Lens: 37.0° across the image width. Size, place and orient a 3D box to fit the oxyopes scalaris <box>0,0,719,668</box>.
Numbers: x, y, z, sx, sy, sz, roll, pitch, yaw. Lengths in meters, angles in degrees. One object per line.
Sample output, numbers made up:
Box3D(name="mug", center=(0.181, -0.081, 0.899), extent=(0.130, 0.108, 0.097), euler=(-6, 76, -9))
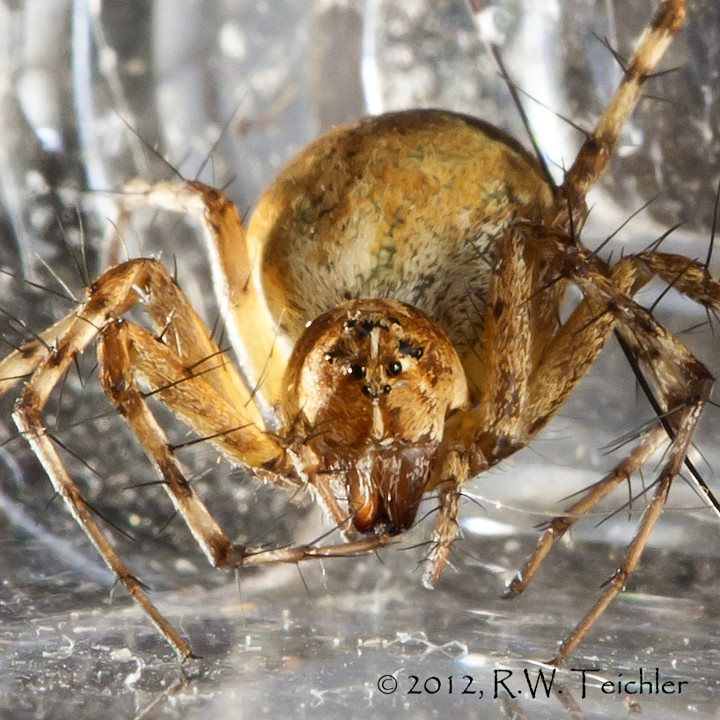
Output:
Box3D(name="oxyopes scalaris", center=(0.006, -0.052, 0.878), extent=(0.618, 0.300, 0.404), euler=(-13, 51, -9))
